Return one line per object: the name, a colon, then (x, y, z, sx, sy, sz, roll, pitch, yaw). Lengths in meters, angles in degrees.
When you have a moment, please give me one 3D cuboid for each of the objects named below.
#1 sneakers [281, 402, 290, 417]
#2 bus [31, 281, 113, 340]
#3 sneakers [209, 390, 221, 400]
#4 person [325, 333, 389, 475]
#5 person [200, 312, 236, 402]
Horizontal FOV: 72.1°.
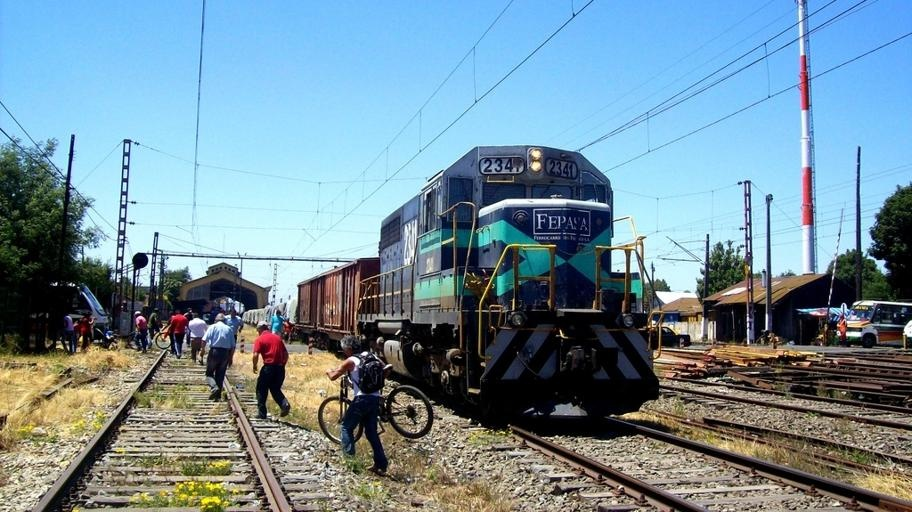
sneakers: (-4.423, 4.051, 16.360, 0.195, 0.206, 0.453, 5, -40, -24)
bus: (-17.907, 2.419, 30.220, 3.437, 2.124, 2.645, -3, -6, 17)
sneakers: (-6.928, 4.050, 18.066, 0.170, 0.434, 0.185, 20, 22, -16)
person: (-1.998, 3.188, 13.625, 1.202, 2.882, 1.029, -4, -8, 28)
person: (-6.976, 2.934, 18.508, 0.775, 2.519, 1.039, 2, -8, -21)
